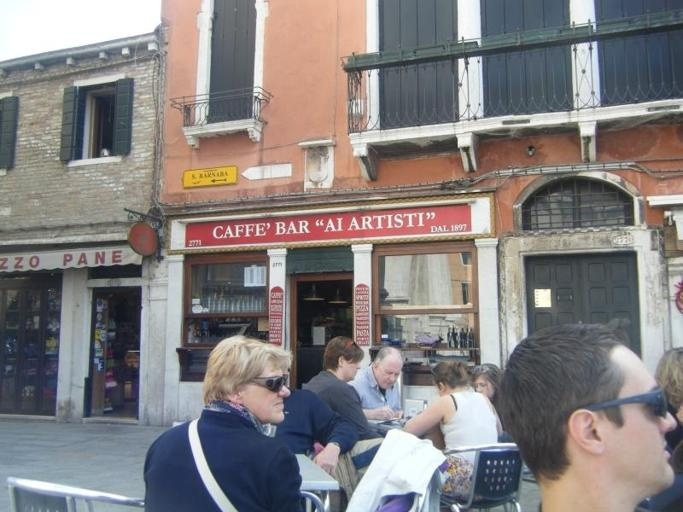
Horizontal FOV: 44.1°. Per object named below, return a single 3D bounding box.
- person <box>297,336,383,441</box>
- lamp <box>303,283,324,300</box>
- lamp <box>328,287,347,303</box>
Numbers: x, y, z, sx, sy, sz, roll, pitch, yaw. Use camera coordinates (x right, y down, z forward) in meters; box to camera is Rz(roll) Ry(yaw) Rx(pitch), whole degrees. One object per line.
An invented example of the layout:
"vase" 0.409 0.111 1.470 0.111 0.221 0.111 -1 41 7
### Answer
"person" 0.045 1.596 9.929 0.716 1.285 1.241 -3 -1 -14
"lamp" -0.533 0.675 15.706 0.284 0.325 0.295 2 -7 -17
"lamp" -0.068 0.738 15.740 0.260 0.291 0.273 1 -6 -8
